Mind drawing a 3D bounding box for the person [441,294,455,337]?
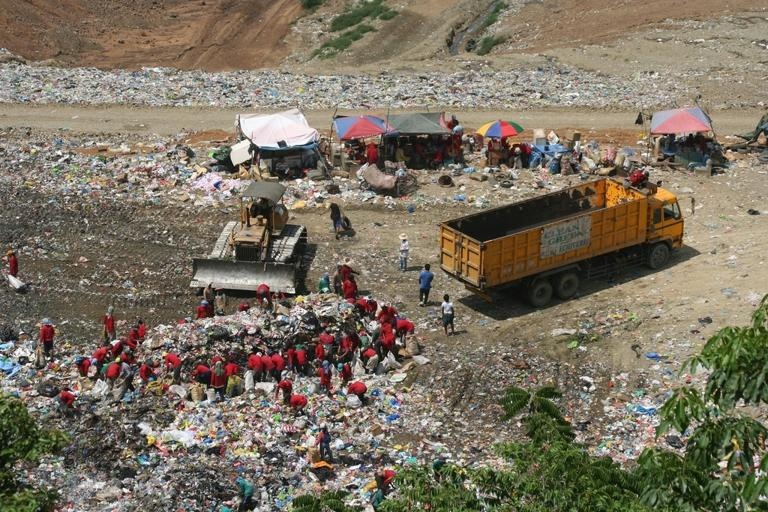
[{"bbox_3d":[1.842,1.583,21.695,0.345,1.211,0.485,0,28,3],"label":"person"}]

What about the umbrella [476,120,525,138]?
[{"bbox_3d":[4.463,-4.814,29.628,1.523,0.719,1.014,-2,25,-3],"label":"umbrella"}]

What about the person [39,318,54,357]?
[{"bbox_3d":[-8.949,2.188,20.705,0.415,0.994,0.490,-14,30,-23],"label":"person"}]

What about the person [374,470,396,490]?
[{"bbox_3d":[0.045,4.856,16.821,0.446,0.487,0.699,-1,25,0],"label":"person"}]

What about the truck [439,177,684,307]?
[{"bbox_3d":[5.038,-0.163,23.889,8.266,2.953,3.296,-17,30,-17],"label":"truck"}]

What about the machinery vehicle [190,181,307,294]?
[{"bbox_3d":[-3.969,-0.762,24.084,2.965,2.157,3.641,4,34,4],"label":"machinery vehicle"}]
